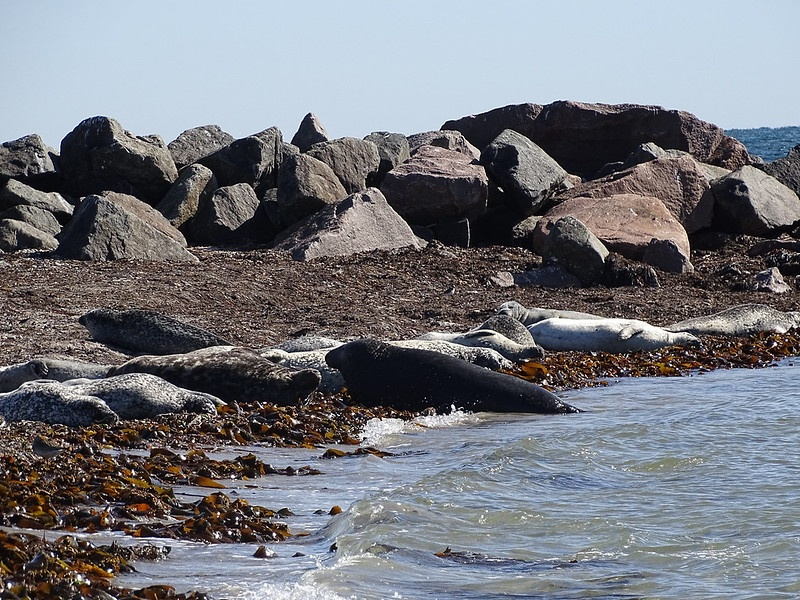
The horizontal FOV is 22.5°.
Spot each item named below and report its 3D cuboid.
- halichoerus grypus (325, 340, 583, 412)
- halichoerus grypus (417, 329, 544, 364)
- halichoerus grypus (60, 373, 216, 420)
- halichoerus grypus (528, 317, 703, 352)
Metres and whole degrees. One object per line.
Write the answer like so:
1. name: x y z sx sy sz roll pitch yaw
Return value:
1. halichoerus grypus: 0.742 1.213 28.565 3.664 1.033 1.117 7 28 10
2. halichoerus grypus: 1.300 0.676 30.138 1.188 0.334 0.763 -4 -2 21
3. halichoerus grypus: -3.469 1.303 27.212 1.308 0.358 0.893 6 -2 4
4. halichoerus grypus: 3.280 0.555 31.578 2.062 0.378 0.907 2 18 5
